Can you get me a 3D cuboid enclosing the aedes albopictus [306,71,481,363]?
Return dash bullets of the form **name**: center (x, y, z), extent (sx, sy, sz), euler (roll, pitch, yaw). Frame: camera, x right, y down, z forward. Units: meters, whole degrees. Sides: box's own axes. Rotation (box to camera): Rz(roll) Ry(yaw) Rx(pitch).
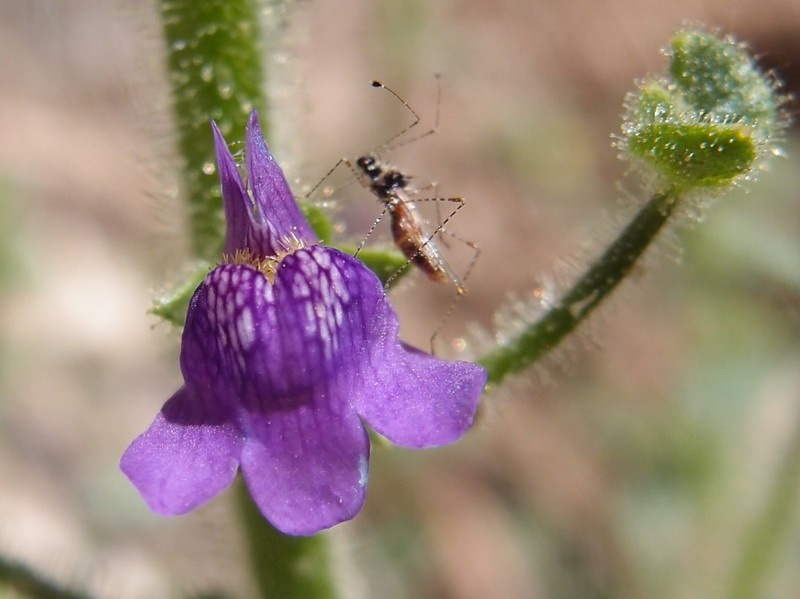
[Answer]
- **aedes albopictus**: center (0.004, -0.381, 4.229), extent (0.878, 1.285, 0.503), euler (-17, -22, -41)
